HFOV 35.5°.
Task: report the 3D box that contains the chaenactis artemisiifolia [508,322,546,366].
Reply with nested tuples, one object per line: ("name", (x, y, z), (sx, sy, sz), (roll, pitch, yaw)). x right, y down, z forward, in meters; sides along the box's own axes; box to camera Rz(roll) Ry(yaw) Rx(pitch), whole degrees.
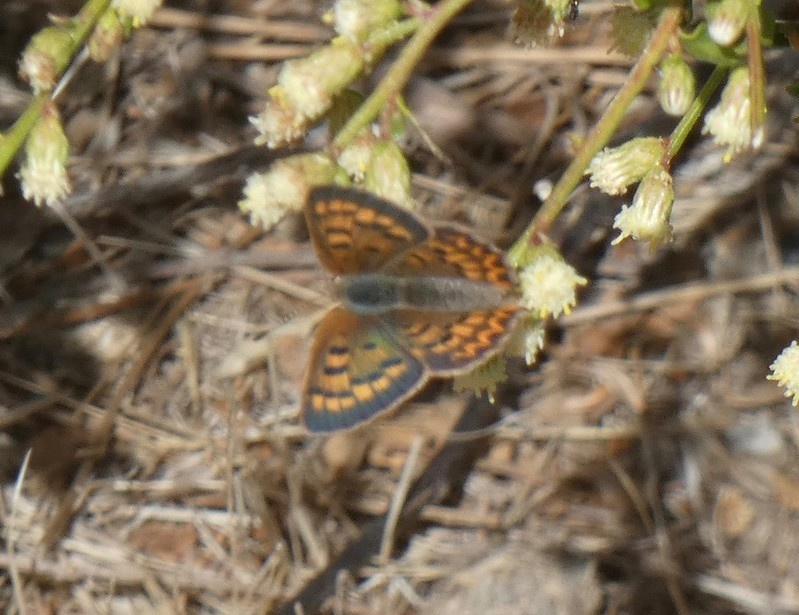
("chaenactis artemisiifolia", (0.227, 0.068, 2.102), (0.051, 0.020, 0.052), (-21, 91, -38))

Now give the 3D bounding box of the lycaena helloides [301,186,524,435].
("lycaena helloides", (0.017, 0.017, 2.024), (0.345, 0.254, 0.380), (2, 84, -1))

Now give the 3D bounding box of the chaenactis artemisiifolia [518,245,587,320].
("chaenactis artemisiifolia", (0.242, -0.039, 2.045), (0.102, 0.077, 0.117), (26, 84, 2))

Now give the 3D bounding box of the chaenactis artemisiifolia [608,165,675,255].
("chaenactis artemisiifolia", (0.408, -0.167, 2.082), (0.095, 0.080, 0.133), (7, 84, 0))

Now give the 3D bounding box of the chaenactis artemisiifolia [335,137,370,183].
("chaenactis artemisiifolia", (-0.074, -0.246, 2.086), (0.067, 0.027, 0.072), (-14, 111, -18))

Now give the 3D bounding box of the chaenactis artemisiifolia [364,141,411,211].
("chaenactis artemisiifolia", (-0.025, -0.223, 2.060), (0.097, 0.040, 0.098), (24, 83, -4))
